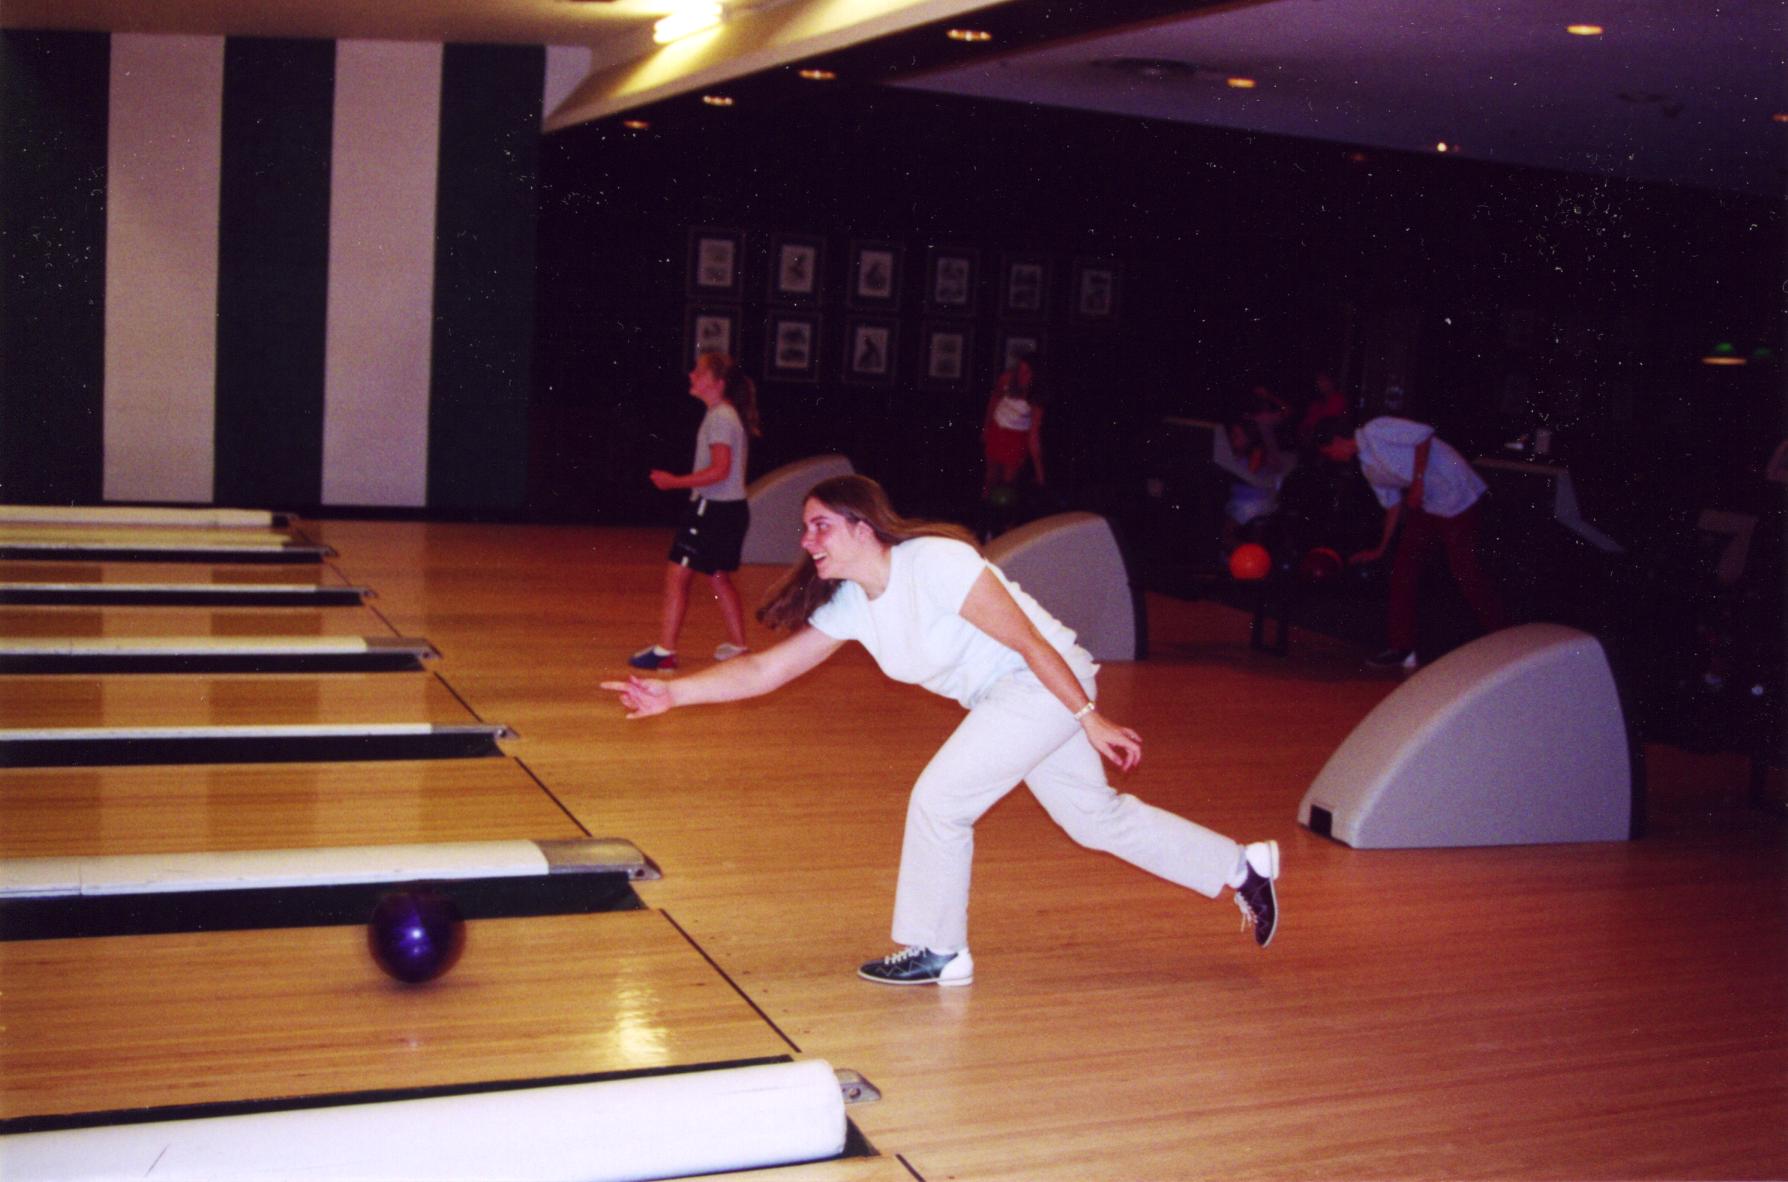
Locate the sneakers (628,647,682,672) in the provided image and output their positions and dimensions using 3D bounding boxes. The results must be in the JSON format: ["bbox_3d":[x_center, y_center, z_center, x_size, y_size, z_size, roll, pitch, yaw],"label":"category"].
[{"bbox_3d":[-1.312,0.360,6.694,0.228,0.092,0.116,2,9,-9],"label":"sneakers"}]

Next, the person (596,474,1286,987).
[{"bbox_3d":[0.218,0.428,3.477,1.983,1.363,0.628,3,-1,-10],"label":"person"}]

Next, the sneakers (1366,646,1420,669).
[{"bbox_3d":[3.228,0.435,8.116,0.421,0.161,0.145,1,5,-1],"label":"sneakers"}]

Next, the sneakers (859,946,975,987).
[{"bbox_3d":[0.064,1.057,3.555,0.324,0.140,0.116,4,-6,-6],"label":"sneakers"}]

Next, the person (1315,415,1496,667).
[{"bbox_3d":[3.305,-0.255,7.706,0.918,1.592,0.520,7,10,24],"label":"person"}]
